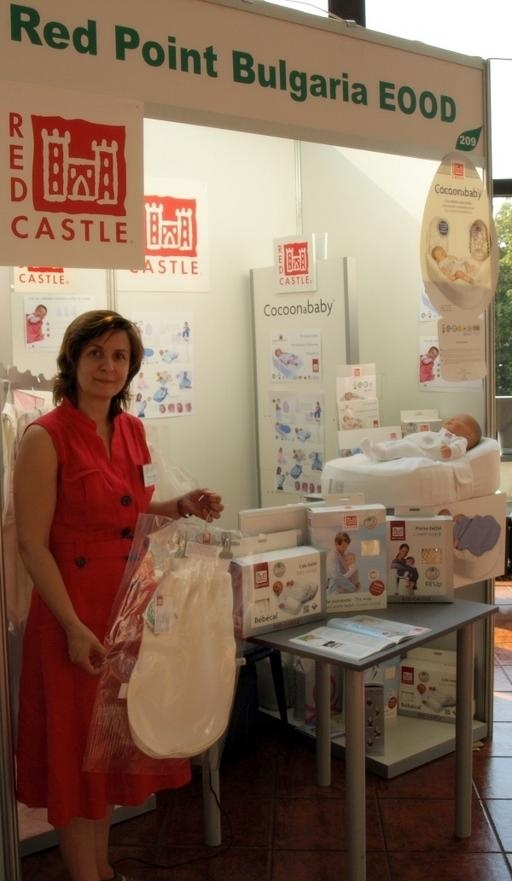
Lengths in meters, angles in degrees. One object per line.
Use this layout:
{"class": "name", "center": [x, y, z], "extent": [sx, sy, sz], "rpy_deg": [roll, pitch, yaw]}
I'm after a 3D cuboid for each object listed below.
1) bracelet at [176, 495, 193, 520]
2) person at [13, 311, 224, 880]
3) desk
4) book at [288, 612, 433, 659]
{"class": "bracelet", "center": [-0.192, 0.177, 1.752], "extent": [0.012, 0.054, 0.038], "rpy_deg": [-10, -14, 34]}
{"class": "person", "center": [-0.369, 0.390, 1.574], "extent": [0.287, 1.371, 0.474], "rpy_deg": [-2, -2, 33]}
{"class": "desk", "center": [0.271, 0.862, 2.103], "extent": [0.839, 0.852, 0.813], "rpy_deg": [0, -1, -40]}
{"class": "book", "center": [0.252, 0.505, 1.748], "extent": [0.283, 0.015, 0.354], "rpy_deg": [-2, -1, 45]}
